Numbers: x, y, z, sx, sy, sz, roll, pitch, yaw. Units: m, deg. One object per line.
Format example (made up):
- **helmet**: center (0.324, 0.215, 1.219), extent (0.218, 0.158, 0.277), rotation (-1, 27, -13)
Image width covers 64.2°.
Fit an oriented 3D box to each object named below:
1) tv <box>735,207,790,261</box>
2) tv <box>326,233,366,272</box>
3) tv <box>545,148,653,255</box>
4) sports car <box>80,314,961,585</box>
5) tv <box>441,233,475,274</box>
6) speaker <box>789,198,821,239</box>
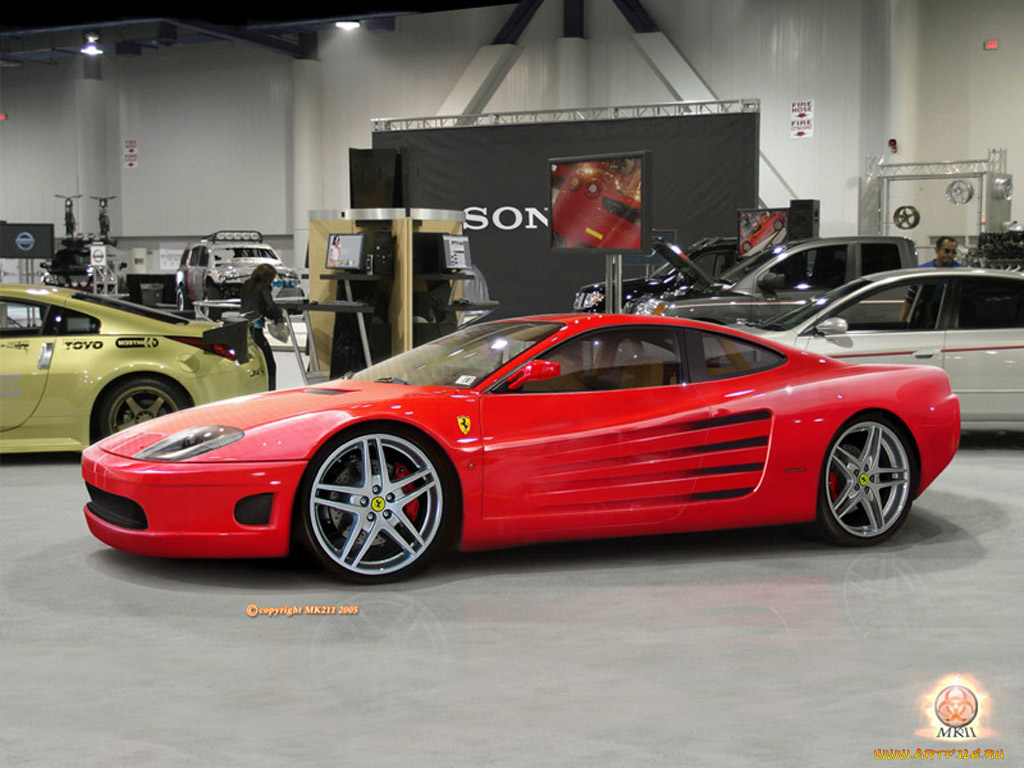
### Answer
- **tv**: center (5.449, -3.433, 18.217), extent (1.241, 1.280, 0.100), rotation (-21, 45, -8)
- **tv**: center (-2.195, -1.732, 10.882), extent (0.513, 0.463, 0.189), rotation (12, -5, 23)
- **tv**: center (0.968, -1.997, 9.140), extent (0.198, 1.107, 1.757), rotation (-7, 18, -33)
- **sports car**: center (0.161, 0.364, 4.821), extent (4.232, 1.082, 1.827), rotation (1, -1, -17)
- **tv**: center (-0.852, -1.805, 11.389), extent (0.130, 0.481, 0.565), rotation (-8, 0, 39)
- **speaker**: center (5.960, -3.408, 17.011), extent (0.561, 0.792, 0.540), rotation (1, 4, 8)
